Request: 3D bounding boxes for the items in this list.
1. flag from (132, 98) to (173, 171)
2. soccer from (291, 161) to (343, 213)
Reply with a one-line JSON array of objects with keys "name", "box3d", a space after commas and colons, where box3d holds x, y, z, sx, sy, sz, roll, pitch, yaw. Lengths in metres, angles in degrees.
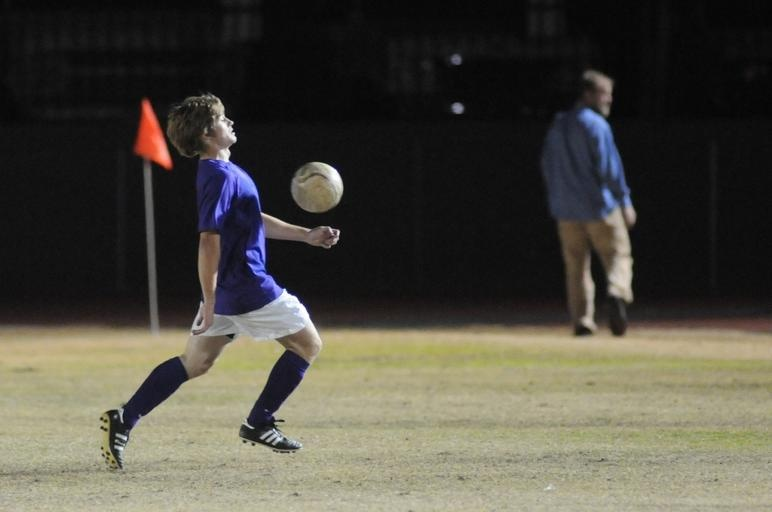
[{"name": "flag", "box3d": [-3.616, -1.899, 20.708, 0.458, 0.972, 0.623, -18, 21, -13]}, {"name": "soccer", "box3d": [-0.795, -0.738, 15.615, 0.428, 0.669, 0.814, 0, -15, 1]}]
